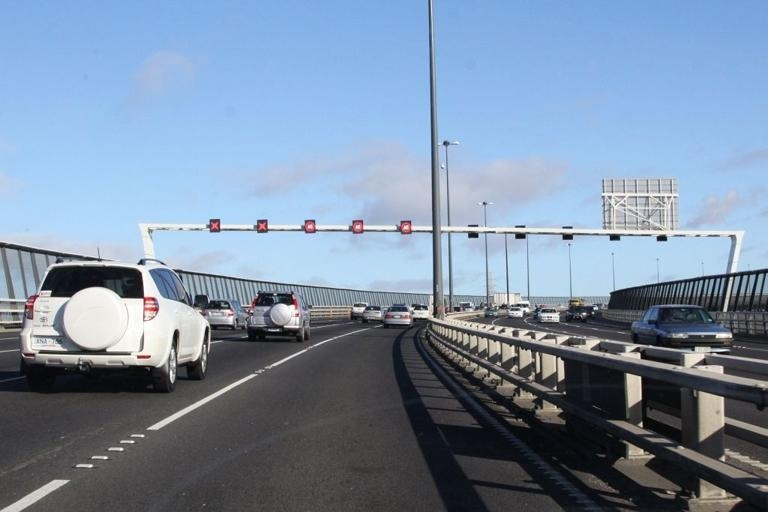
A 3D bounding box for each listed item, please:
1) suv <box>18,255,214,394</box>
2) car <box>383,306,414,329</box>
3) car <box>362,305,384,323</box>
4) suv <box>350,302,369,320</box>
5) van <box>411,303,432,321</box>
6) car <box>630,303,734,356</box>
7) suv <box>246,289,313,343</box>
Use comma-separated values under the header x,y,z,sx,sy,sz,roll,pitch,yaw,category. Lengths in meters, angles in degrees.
x,y,z,sx,sy,sz,roll,pitch,yaw,category
-5.396,1.456,13.438,3.421,2.855,2.219,-2,-2,-35,suv
1.006,4.693,52.262,1.909,1.223,1.403,-4,-2,16,car
-1.243,6.049,68.545,1.462,1.124,3.273,0,0,6,car
-3.165,6.486,76.142,1.379,1.369,2.853,1,2,8,suv
4.301,6.936,79.379,1.925,1.477,4.327,0,1,4,van
10.176,2.380,22.722,2.483,1.552,3.806,-4,-2,14,car
-4.807,2.708,30.203,1.776,1.413,3.061,0,-1,3,suv
